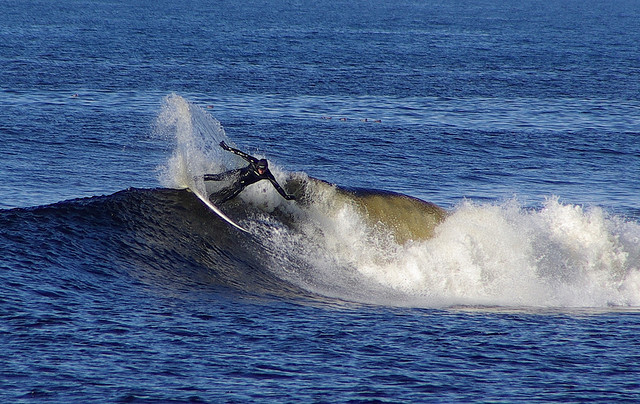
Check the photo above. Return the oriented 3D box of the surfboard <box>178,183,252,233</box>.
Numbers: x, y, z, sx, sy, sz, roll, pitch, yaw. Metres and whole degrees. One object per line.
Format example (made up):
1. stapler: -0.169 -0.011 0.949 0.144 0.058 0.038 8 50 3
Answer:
1. surfboard: -5.163 0.342 54.022 5.125 0.606 0.391 24 -16 -6
